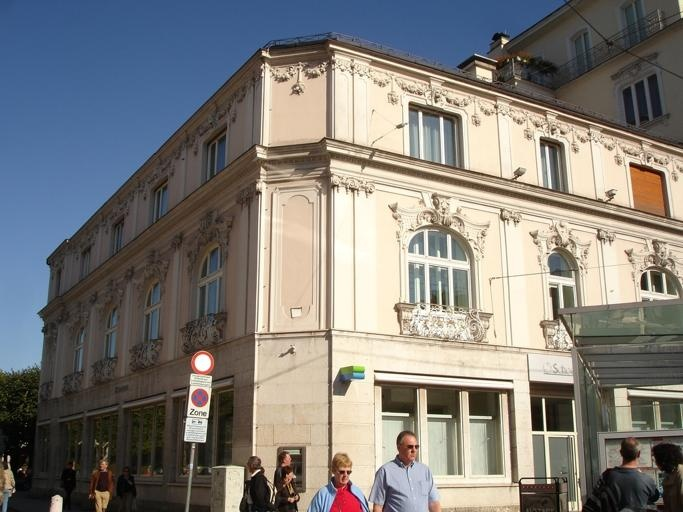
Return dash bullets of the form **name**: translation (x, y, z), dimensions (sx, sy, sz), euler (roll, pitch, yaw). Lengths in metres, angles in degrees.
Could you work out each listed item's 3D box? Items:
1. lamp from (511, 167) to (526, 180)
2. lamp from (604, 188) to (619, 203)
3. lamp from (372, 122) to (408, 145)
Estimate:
- **lamp**: translation (6.435, -3.033, 23.842), dimensions (0.347, 0.206, 0.562), euler (5, -33, -19)
- **lamp**: translation (10.705, -2.349, 25.880), dimensions (0.593, 0.627, 0.490), euler (3, -6, -2)
- **lamp**: translation (1.548, -4.115, 22.206), dimensions (1.415, 0.215, 0.202), euler (-36, 10, -31)
